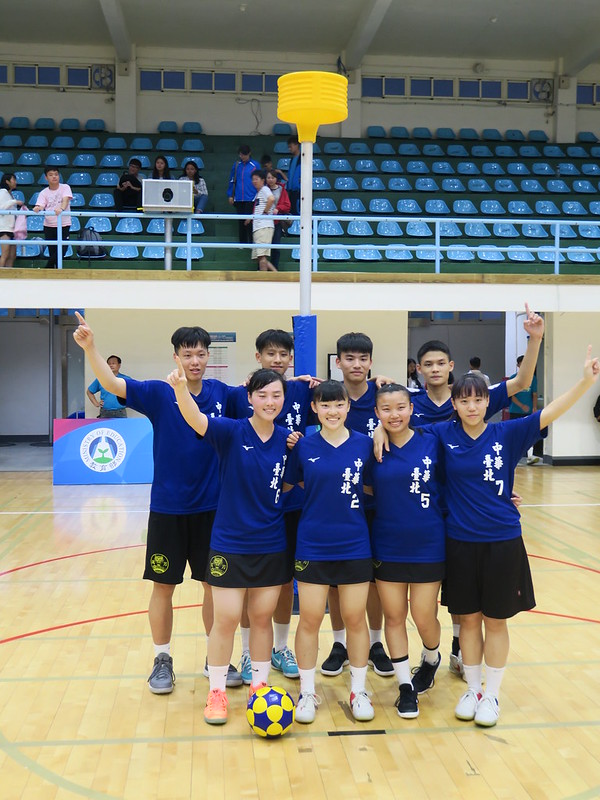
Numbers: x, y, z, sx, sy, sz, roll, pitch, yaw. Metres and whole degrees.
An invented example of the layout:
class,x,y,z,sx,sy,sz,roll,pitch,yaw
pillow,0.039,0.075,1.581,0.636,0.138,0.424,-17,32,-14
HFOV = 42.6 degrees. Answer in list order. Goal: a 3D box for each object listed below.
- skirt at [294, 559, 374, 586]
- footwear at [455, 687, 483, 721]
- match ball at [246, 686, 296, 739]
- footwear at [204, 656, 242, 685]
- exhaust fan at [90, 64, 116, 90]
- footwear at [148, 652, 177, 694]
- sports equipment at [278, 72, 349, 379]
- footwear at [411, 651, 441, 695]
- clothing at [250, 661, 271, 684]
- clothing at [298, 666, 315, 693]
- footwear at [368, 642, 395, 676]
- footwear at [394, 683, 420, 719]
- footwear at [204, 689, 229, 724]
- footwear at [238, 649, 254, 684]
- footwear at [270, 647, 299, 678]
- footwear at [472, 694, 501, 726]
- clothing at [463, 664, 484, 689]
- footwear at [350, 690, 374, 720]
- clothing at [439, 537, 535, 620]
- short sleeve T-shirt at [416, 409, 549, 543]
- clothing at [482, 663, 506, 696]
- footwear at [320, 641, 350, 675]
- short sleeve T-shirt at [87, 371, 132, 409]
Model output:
class,x,y,z,sx,sy,sz,roll,pitch,yaw
skirt,0.146,0.684,3.106,0.223,0.077,0.135,1,-6,6
footwear,0.694,1.258,3.173,0.061,0.069,0.179,-5,-3,14
match ball,-0.109,1.203,3.070,0.192,0.210,0.187,-7,-6,-1
footwear,-0.364,1.254,3.633,0.109,0.112,0.287,4,-3,-21
exhaust fan,-3.655,-5.944,14.350,0.482,0.446,0.150,0,-2,-4
footwear,-0.625,1.227,3.487,0.116,0.162,0.150,0,2,-10
sports equipment,0.072,-0.995,4.531,0.377,1.684,0.937,0,1,0
footwear,0.564,1.221,3.475,0.088,0.238,0.088,4,-41,26
clothing,-0.161,1.113,3.142,0.069,0.095,0.101,0,2,1
clothing,0.031,1.151,3.152,0.054,0.130,0.067,0,1,11
footwear,0.400,1.245,3.672,0.067,0.071,0.183,-1,-5,-6
footwear,0.449,1.249,3.219,0.094,0.114,0.146,0,2,6
footwear,-0.341,1.243,3.127,0.092,0.137,0.092,0,2,-8
footwear,-0.257,1.246,3.580,0.062,0.070,0.178,0,-2,-9
footwear,-0.070,1.241,3.639,0.113,0.106,0.191,0,2,-9
footwear,0.762,1.255,3.138,0.091,0.117,0.132,1,2,20
clothing,0.726,1.151,3.211,0.073,0.137,0.110,0,2,9
footwear,0.258,1.248,3.160,0.094,0.120,0.118,0,2,5
clothing,0.755,0.676,3.156,0.440,0.390,0.238,2,25,21
short sleeve T-shirt,0.737,0.306,3.153,0.471,0.517,0.253,0,1,10
clothing,0.791,1.148,3.138,0.066,0.156,0.088,0,1,10
footwear,0.174,1.262,3.726,0.072,0.092,0.211,-3,-5,15
short sleeve T-shirt,-1.582,-0.063,6.357,0.517,0.388,0.181,0,-1,-12
